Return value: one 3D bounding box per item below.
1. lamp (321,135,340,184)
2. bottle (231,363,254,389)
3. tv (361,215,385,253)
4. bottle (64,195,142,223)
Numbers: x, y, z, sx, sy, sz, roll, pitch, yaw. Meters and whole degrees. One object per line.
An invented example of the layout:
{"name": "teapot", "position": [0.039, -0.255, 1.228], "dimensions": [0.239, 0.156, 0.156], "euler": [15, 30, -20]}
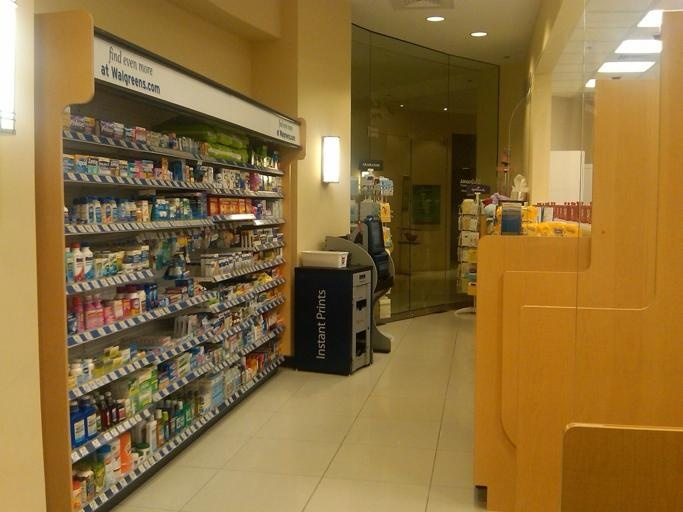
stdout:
{"name": "lamp", "position": [-0.137, -1.147, 6.453], "dimensions": [0.212, 0.530, 0.060], "euler": [-3, 6, -4]}
{"name": "bottle", "position": [-0.924, 1.113, 5.054], "dimensions": [0.292, 0.138, 0.423], "euler": [-1, -1, -4]}
{"name": "tv", "position": [0.358, -0.247, 6.496], "dimensions": [0.251, 0.465, 0.271], "euler": [3, 10, 37]}
{"name": "bottle", "position": [-1.478, -0.292, 3.482], "dimensions": [0.194, 0.182, 0.659], "euler": [0, 8, 20]}
